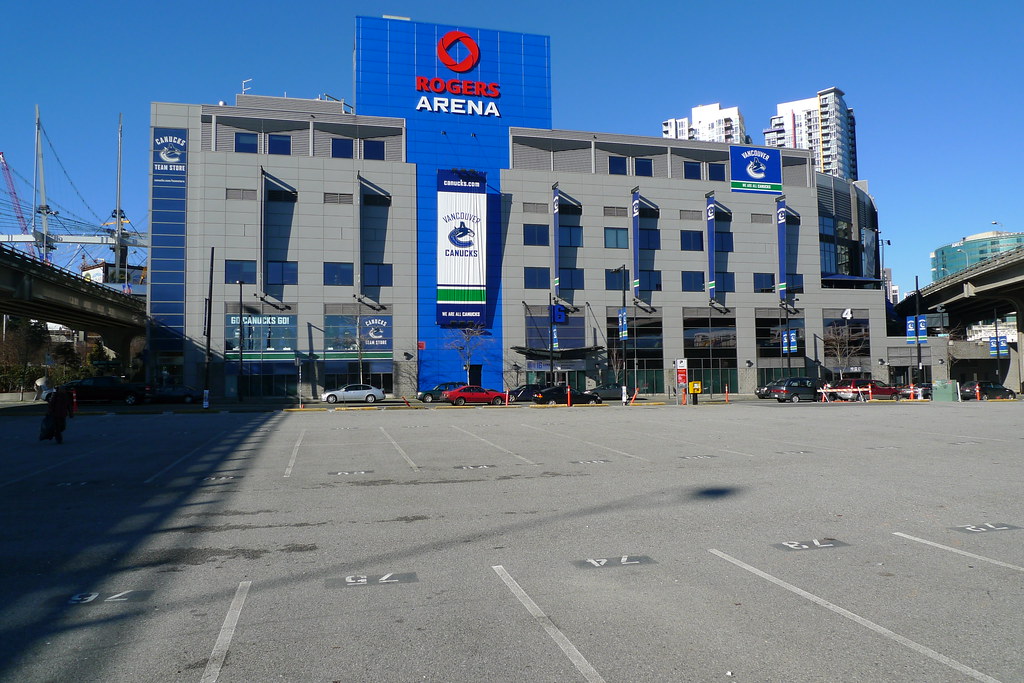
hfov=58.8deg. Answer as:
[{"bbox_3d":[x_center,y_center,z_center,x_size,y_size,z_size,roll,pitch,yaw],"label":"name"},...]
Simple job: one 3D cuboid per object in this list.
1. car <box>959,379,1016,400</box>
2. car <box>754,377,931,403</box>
[{"bbox_3d":[31.283,3.143,60.236,2.528,1.342,6.057,4,7,42],"label":"car"},{"bbox_3d":[20.789,3.096,58.281,8.130,1.154,1.651,-1,-1,-5],"label":"car"}]
